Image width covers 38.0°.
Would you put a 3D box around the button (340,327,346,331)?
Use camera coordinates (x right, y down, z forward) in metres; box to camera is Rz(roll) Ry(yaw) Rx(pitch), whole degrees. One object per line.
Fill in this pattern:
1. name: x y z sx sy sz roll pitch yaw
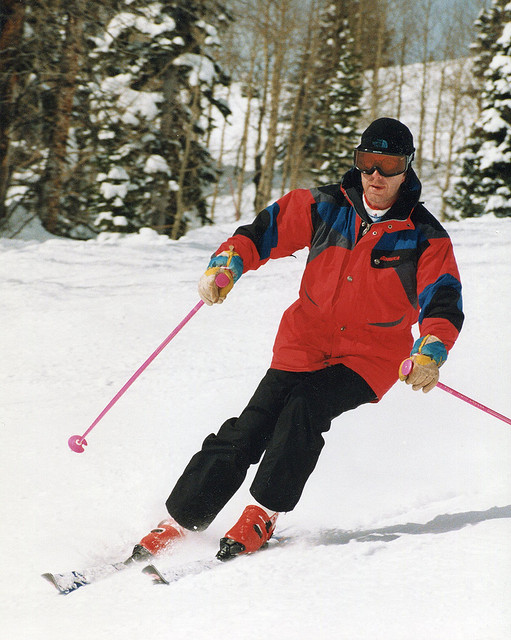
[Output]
1. button: 0.389 0.035 3.285 0.024 0.018 0.005 0 0 13

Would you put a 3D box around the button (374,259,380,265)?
1. button: 0.518 -0.250 3.147 0.032 0.024 0.008 1 -2 1

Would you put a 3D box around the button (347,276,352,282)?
1. button: 0.407 -0.179 3.185 0.023 0.023 0.007 0 2 15

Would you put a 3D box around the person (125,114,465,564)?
1. person: 0.285 0.015 3.137 1.070 1.800 0.649 8 6 -3

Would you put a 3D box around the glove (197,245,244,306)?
1. glove: -0.145 -0.200 3.190 0.205 0.229 0.218 -9 18 -20

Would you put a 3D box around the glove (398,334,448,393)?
1. glove: 0.672 0.156 2.905 0.222 0.204 0.228 2 14 13

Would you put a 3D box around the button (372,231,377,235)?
1. button: 0.509 -0.372 3.154 0.020 0.014 0.002 0 -16 -2

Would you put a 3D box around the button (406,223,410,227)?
1. button: 0.650 -0.406 3.154 0.012 0.011 0.006 7 -1 14

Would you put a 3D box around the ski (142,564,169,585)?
1. ski: -0.400 1.032 3.047 0.145 0.043 0.026 34 17 1
